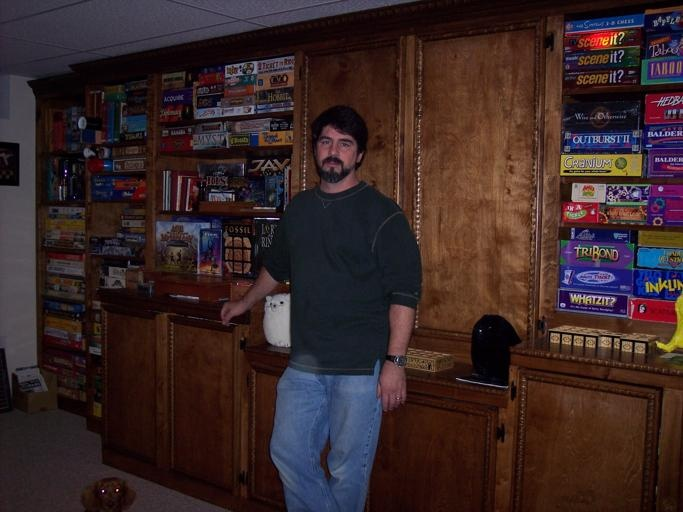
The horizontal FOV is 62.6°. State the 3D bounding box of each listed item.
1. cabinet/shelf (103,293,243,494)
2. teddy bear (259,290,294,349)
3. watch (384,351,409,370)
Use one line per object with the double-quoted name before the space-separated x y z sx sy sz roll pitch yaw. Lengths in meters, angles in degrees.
"cabinet/shelf" -1.046 0.885 3.894 1.424 1.257 0.518 2 3 33
"teddy bear" -0.371 0.370 3.306 0.198 0.299 0.194 6 6 15
"watch" 0.245 0.451 2.421 0.089 0.056 0.082 15 -18 -38
